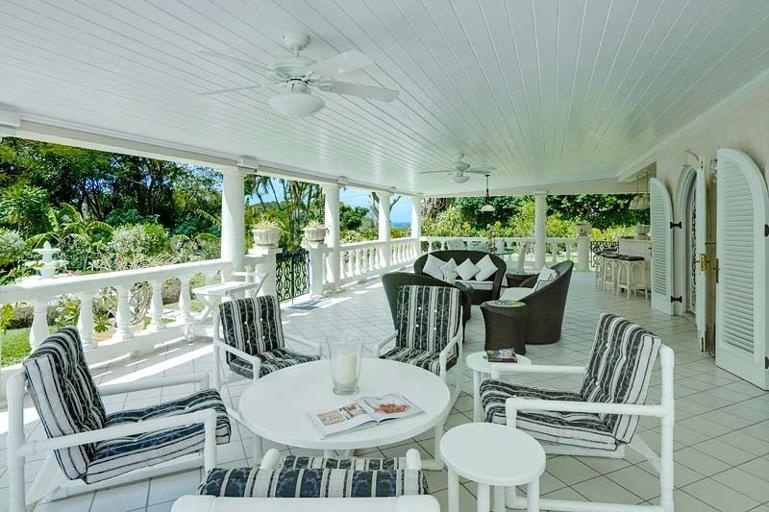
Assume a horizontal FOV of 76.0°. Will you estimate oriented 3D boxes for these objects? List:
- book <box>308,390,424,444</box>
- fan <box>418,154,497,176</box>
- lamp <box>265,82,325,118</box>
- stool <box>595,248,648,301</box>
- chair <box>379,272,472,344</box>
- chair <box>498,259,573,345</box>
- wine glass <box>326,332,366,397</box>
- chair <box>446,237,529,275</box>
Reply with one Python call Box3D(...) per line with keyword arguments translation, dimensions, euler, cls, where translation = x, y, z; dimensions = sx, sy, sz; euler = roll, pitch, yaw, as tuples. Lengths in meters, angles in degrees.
Box3D(translation=(-0.123, 1.106, 3.443), dimensions=(0.760, 0.139, 0.300), euler=(-3, 4, -17), cls="book")
Box3D(translation=(1.386, -1.589, 8.224), dimensions=(0.664, 0.234, 0.675), euler=(-1, -7, 33), cls="fan")
Box3D(translation=(-0.758, -1.363, 4.277), dimensions=(0.555, 0.350, 0.516), euler=(0, 24, -7), cls="lamp")
Box3D(translation=(4.987, 0.397, 10.108), dimensions=(0.853, 0.841, 0.853), euler=(0, 4, -10), cls="stool")
Box3D(translation=(0.538, 0.636, 6.328), dimensions=(0.976, 0.672, 0.854), euler=(-3, 2, 0), cls="chair")
Box3D(translation=(2.023, 0.599, 6.622), dimensions=(0.906, 1.068, 0.821), euler=(0, 0, 16), cls="chair")
Box3D(translation=(-0.276, 0.802, 3.615), dimensions=(0.277, 0.425, 0.225), euler=(1, 3, 3), cls="wine glass")
Box3D(translation=(2.832, -0.098, 12.408), dimensions=(2.435, 1.002, 1.964), euler=(2, 2, 42), cls="chair")
